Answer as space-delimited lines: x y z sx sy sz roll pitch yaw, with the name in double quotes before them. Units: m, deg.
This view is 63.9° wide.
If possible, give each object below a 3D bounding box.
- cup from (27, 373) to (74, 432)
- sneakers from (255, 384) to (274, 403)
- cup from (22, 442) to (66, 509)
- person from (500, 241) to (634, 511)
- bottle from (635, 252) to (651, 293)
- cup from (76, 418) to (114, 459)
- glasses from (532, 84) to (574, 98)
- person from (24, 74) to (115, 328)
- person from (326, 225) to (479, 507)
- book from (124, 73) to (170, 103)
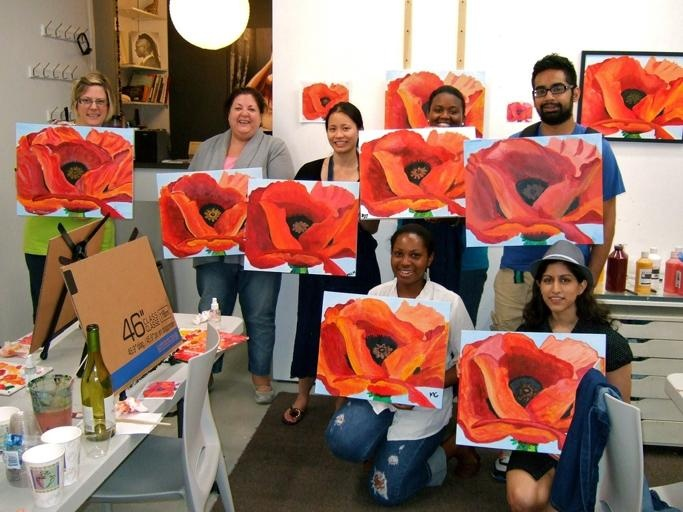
"cup" -0.870 0.435 1.685 0.169 0.194 0.140 -2 -7 -13
"sneakers" -0.484 0.884 3.449 0.081 0.079 0.116 0 -13 -6
"cup" -0.798 0.596 1.475 0.100 0.145 0.075 2 13 7
"person" 0.919 0.603 2.239 0.461 1.248 0.655 7 14 24
"bottle" 1.632 0.090 2.956 0.088 0.211 0.186 8 15 29
"cup" -0.734 0.555 1.653 0.091 0.076 0.099 1 -2 0
"glasses" 0.950 -0.748 2.473 0.158 0.061 0.054 6 14 21
"person" -1.524 -0.330 3.060 0.542 1.367 0.605 -4 14 -20
"person" 0.278 0.508 2.587 0.651 1.282 0.458 7 14 24
"book" -2.091 -1.783 5.815 0.366 0.380 0.092 3 -14 -5
